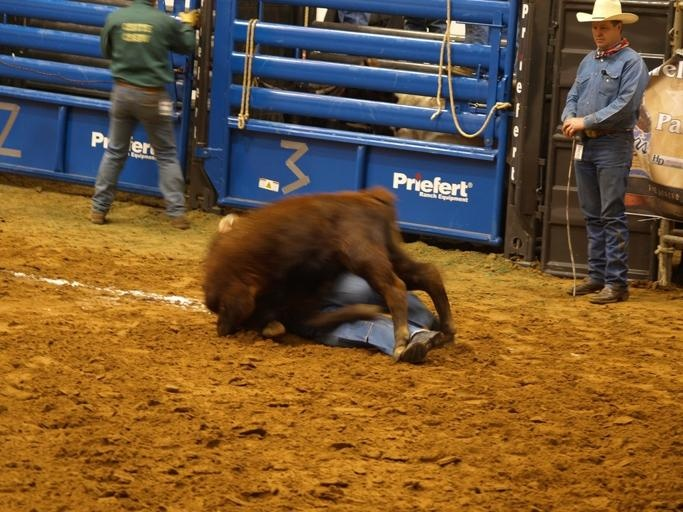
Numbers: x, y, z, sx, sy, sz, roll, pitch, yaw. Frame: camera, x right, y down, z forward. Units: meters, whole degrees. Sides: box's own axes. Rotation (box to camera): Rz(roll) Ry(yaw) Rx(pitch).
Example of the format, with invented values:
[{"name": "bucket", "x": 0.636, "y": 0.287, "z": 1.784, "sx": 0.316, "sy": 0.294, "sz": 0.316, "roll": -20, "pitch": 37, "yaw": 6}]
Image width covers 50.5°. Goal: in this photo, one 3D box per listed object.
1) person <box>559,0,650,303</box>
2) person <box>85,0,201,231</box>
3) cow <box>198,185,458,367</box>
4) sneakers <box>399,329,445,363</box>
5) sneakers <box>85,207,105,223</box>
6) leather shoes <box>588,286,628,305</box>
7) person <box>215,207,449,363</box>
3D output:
[{"name": "person", "x": 2.510, "y": -0.966, "z": 7.055, "sx": 0.811, "sy": 2.388, "sz": 0.703, "roll": 10, "pitch": 4, "yaw": 29}, {"name": "person", "x": -2.379, "y": -1.704, "z": 8.802, "sx": 1.191, "sy": 2.715, "sz": 0.581, "roll": 6, "pitch": 4, "yaw": -15}, {"name": "cow", "x": -0.137, "y": 0.076, "z": 5.332, "sx": 1.698, "sy": 1.203, "sz": 0.615, "roll": 6, "pitch": 3, "yaw": 11}, {"name": "sneakers", "x": 0.552, "y": 0.632, "z": 5.050, "sx": 0.284, "sy": 0.165, "sz": 0.146, "roll": 5, "pitch": 4, "yaw": 1}, {"name": "sneakers", "x": -3.034, "y": -0.489, "z": 9.038, "sx": 0.167, "sy": 0.189, "sz": 0.247, "roll": 9, "pitch": 14, "yaw": 40}, {"name": "leather shoes", "x": 2.603, "y": 0.384, "z": 7.059, "sx": 0.441, "sy": 0.151, "sz": 0.152, "roll": -1, "pitch": 3, "yaw": -16}, {"name": "person", "x": -0.161, "y": 0.304, "z": 5.929, "sx": 2.425, "sy": 1.091, "sz": 0.721, "roll": 8, "pitch": 1, "yaw": 19}]
